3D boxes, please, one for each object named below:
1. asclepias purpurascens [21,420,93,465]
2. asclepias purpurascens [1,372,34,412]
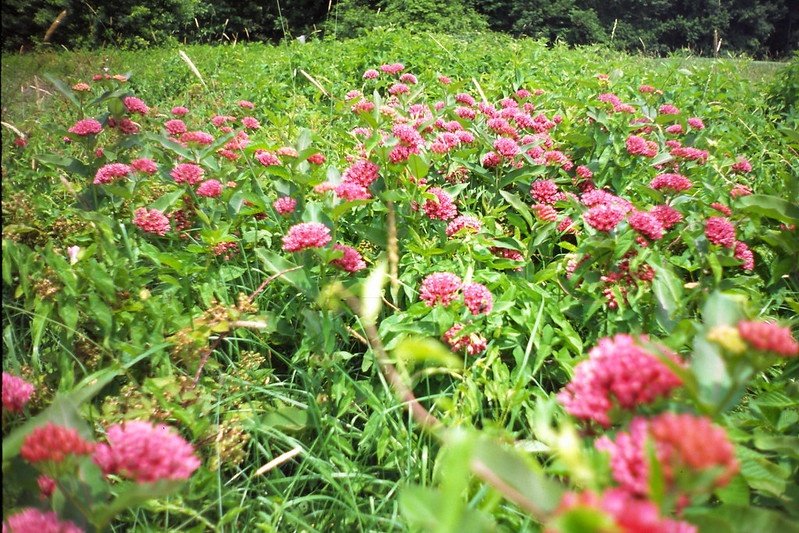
[{"bbox_3d":[-1.047,0.552,1.934,0.209,0.110,0.089,17,24,9],"label":"asclepias purpurascens"},{"bbox_3d":[-1.314,0.456,2.185,0.084,0.205,0.129,-2,27,-30],"label":"asclepias purpurascens"}]
